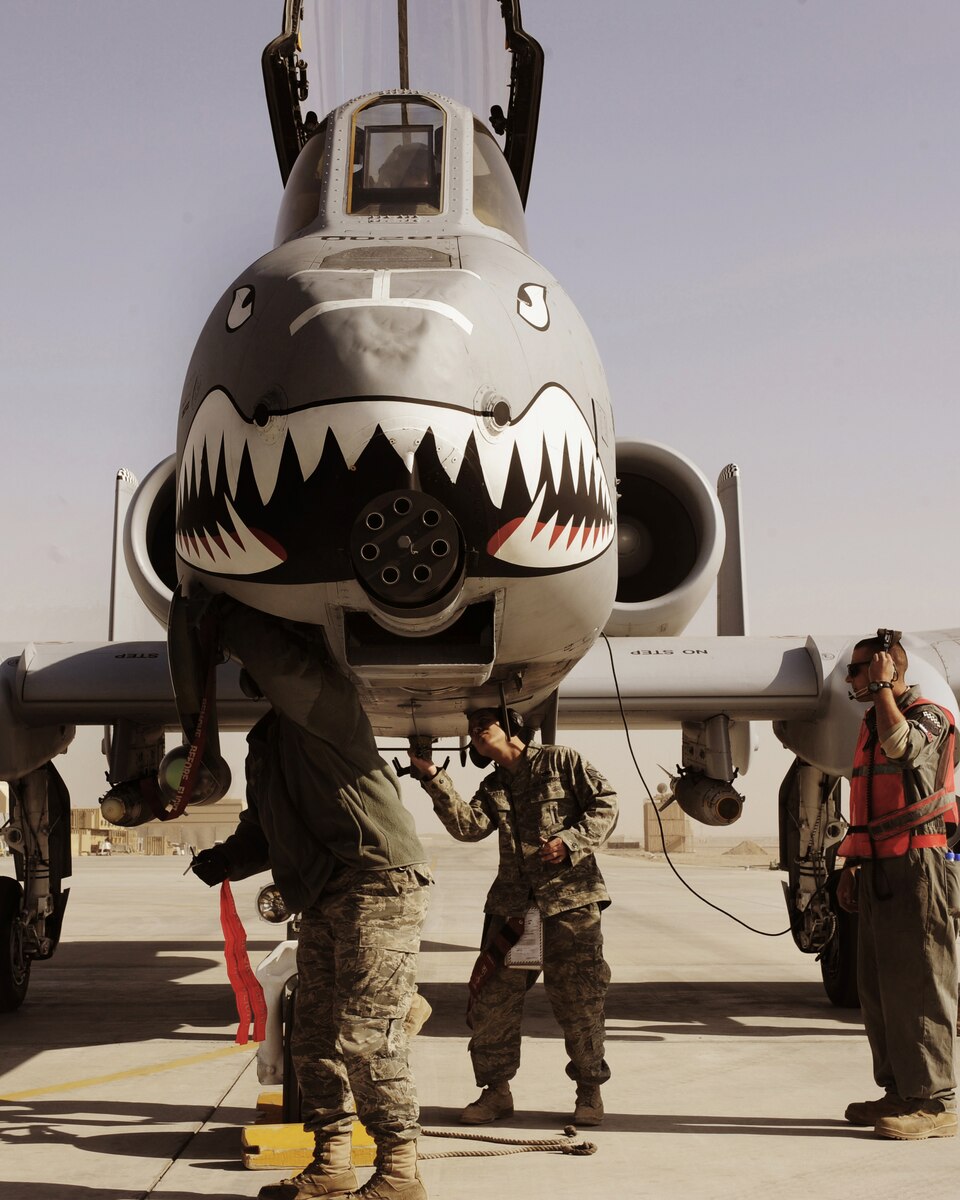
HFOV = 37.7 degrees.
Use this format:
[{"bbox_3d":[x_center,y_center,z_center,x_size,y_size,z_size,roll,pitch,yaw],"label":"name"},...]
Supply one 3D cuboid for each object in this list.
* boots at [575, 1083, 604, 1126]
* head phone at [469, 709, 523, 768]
[{"bbox_3d":[0.398,1.857,5.182,0.104,0.126,0.170,-1,0,4],"label":"boots"},{"bbox_3d":[0.073,0.550,5.440,0.210,0.234,0.229,-1,31,5],"label":"head phone"}]
